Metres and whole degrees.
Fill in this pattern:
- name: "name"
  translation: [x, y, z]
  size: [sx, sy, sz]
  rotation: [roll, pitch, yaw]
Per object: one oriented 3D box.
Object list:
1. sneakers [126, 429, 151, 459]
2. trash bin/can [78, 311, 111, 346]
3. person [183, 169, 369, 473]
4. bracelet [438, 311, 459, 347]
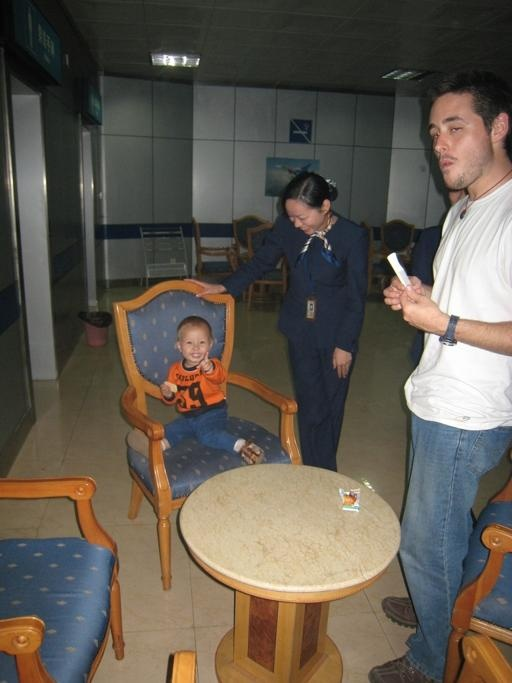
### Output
- name: "sneakers"
  translation: [-0.484, 0.418, 2.171]
  size: [0.046, 0.118, 0.254]
  rotation: [-5, 15, -27]
- name: "trash bin/can"
  translation: [-1.655, -0.139, 5.634]
  size: [0.440, 0.435, 0.336]
  rotation: [-1, 2, -15]
- name: "person"
  translation: [0.157, 0.022, 2.604]
  size: [0.767, 1.596, 0.494]
  rotation: [-2, 26, 4]
- name: "bracelet"
  translation: [0.477, -0.031, 1.306]
  size: [0.042, 0.064, 0.069]
  rotation: [24, 20, 16]
